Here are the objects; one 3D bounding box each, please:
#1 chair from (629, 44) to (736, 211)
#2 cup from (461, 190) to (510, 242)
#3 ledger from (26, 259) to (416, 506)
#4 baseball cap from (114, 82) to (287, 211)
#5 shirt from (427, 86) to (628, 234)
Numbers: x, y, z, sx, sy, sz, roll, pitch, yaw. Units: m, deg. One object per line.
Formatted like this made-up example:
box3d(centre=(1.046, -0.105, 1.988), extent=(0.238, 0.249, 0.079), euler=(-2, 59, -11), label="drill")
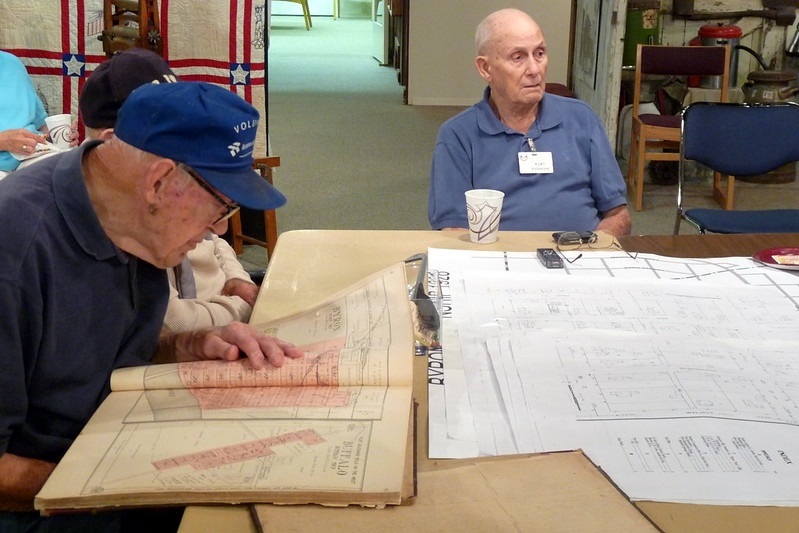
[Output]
box3d(centre=(2.134, -1.075, 4.777), extent=(0.904, 1.106, 0.886), euler=(-21, 28, -39), label="chair")
box3d(centre=(0.261, -0.146, 1.961), extent=(0.136, 0.133, 0.133), euler=(2, 8, 0), label="cup")
box3d(centre=(-0.309, 0.248, 1.347), extent=(0.690, 0.168, 0.684), euler=(-3, 41, -3), label="ledger")
box3d(centre=(-0.414, -0.263, 1.460), extent=(0.386, 0.179, 0.238), euler=(22, 17, -24), label="baseball cap")
box3d(centre=(0.490, -0.422, 2.454), extent=(0.758, 0.495, 0.403), euler=(-1, 22, 1), label="shirt")
